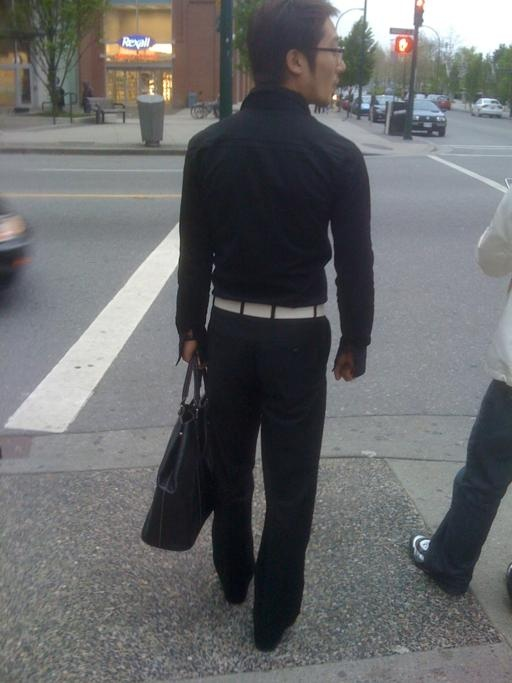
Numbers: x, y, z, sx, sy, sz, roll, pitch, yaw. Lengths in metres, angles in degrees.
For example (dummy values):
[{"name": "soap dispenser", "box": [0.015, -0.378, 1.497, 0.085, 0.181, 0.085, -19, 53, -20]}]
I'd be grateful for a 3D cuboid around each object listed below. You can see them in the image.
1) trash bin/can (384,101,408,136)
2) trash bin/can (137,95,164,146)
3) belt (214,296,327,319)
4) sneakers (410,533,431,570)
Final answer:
[{"name": "trash bin/can", "box": [7.332, -11.664, 29.350, 0.864, 1.661, 1.222, 2, 12, 6]}, {"name": "trash bin/can", "box": [-3.859, -8.073, 20.581, 0.921, 1.816, 1.363, -2, 12, -11]}, {"name": "belt", "box": [0.025, -0.098, 1.688, 0.346, 0.052, 0.120, 4, 15, 11]}, {"name": "sneakers", "box": [0.669, 0.853, 2.292, 0.049, 0.071, 0.156, 2, 32, 9]}]
